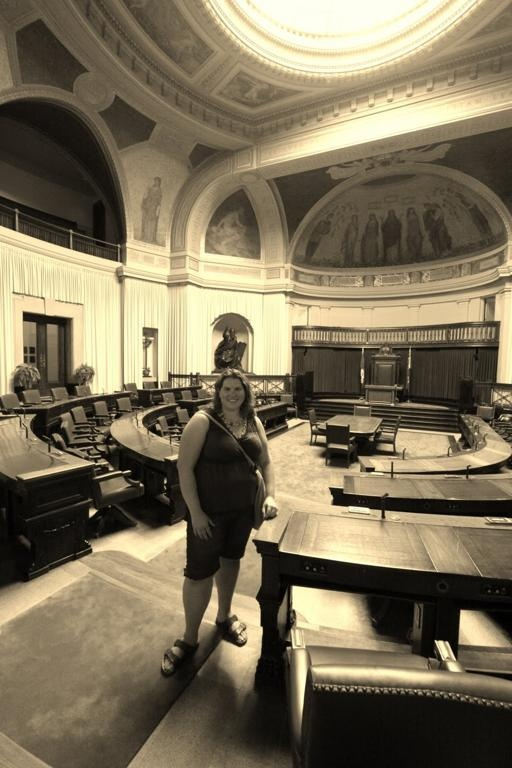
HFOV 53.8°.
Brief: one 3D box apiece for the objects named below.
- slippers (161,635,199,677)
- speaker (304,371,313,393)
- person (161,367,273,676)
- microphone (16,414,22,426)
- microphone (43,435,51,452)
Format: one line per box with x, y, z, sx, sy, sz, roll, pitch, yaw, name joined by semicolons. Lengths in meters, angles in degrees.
-0.365;1.302;2.401;0.066;0.086;0.209;0;-19;19;slippers
1.619;-0.041;15.531;0.202;0.661;0.613;0;0;16;speaker
-0.164;0.635;2.493;0.532;1.418;0.379;4;5;-17;person
-3.047;0.464;6.461;0.056;0.213;0.043;4;3;41;microphone
-1.934;0.552;4.640;0.080;0.170;0.064;-6;-8;43;microphone
